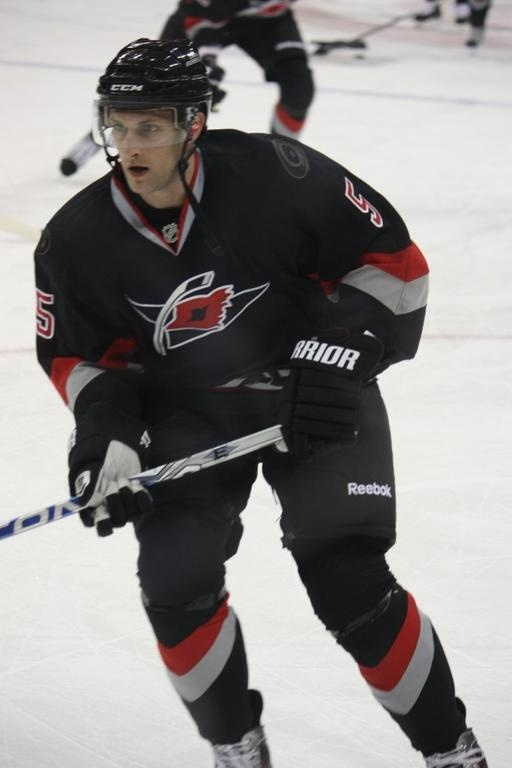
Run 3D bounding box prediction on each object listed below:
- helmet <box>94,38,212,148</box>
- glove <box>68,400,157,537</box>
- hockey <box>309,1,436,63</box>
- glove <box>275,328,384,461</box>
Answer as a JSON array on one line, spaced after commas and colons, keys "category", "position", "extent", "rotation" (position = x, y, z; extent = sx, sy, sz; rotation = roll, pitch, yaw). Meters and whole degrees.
[{"category": "helmet", "position": [-0.172, -0.495, 1.290], "extent": [0.194, 0.195, 0.225], "rotation": [5, 30, 13]}, {"category": "glove", "position": [-0.231, 0.125, 1.193], "extent": [0.074, 0.131, 0.214], "rotation": [-36, 32, 16]}, {"category": "hockey", "position": [0.757, -2.330, 4.872], "extent": [1.046, 0.301, 0.148], "rotation": [-23, 17, -28]}, {"category": "glove", "position": [0.113, 0.009, 1.164], "extent": [0.158, 0.194, 0.063], "rotation": [3, -21, 13]}]
